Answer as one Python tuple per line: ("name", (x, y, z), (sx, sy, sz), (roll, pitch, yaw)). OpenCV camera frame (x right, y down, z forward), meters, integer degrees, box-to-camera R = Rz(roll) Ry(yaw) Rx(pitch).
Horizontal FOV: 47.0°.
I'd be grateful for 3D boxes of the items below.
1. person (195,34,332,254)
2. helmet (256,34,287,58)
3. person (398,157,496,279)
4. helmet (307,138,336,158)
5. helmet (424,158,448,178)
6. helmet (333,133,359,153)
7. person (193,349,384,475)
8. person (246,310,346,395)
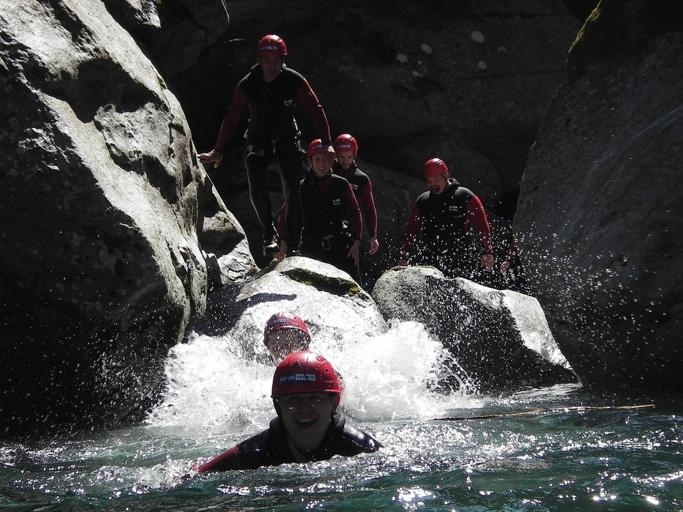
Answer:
("person", (-0.718, -1.104, 7.994), (0.859, 2.222, 1.161), (24, 46, 26))
("helmet", (-0.663, -1.985, 7.494), (0.244, 0.229, 0.336), (0, 40, 1))
("person", (1.227, -0.284, 8.827), (0.994, 1.379, 0.831), (12, 42, 15))
("helmet", (-0.201, -1.152, 8.326), (0.194, 0.238, 0.222), (-14, 85, -35))
("helmet", (1.055, -0.954, 8.708), (0.197, 0.231, 0.257), (1, 20, 21))
("helmet", (0.042, -1.306, 9.067), (0.245, 0.283, 0.291), (3, 20, 6))
("person", (-0.262, 0.981, 4.753), (1.441, 0.562, 0.704), (1, 82, -23))
("person", (-0.404, 1.003, 6.590), (0.591, 0.801, 0.718), (1, 55, -12))
